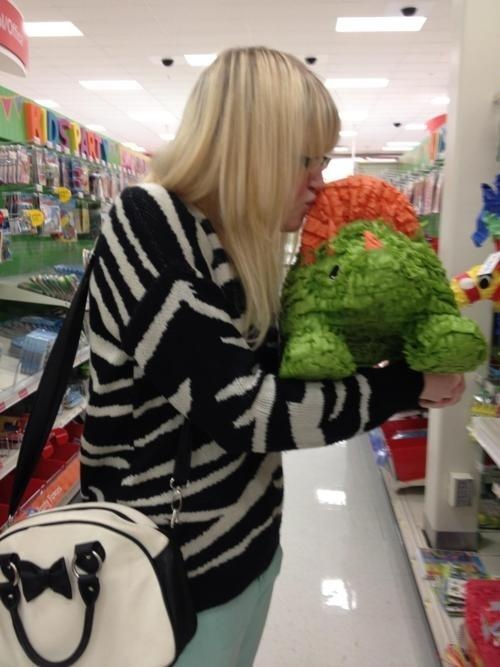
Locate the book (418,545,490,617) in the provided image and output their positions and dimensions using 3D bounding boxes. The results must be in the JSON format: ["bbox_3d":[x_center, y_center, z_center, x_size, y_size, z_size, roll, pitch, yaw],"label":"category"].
[{"bbox_3d":[0.760,0.936,1.847,0.152,0.030,0.232,0,12,4],"label":"book"}]
